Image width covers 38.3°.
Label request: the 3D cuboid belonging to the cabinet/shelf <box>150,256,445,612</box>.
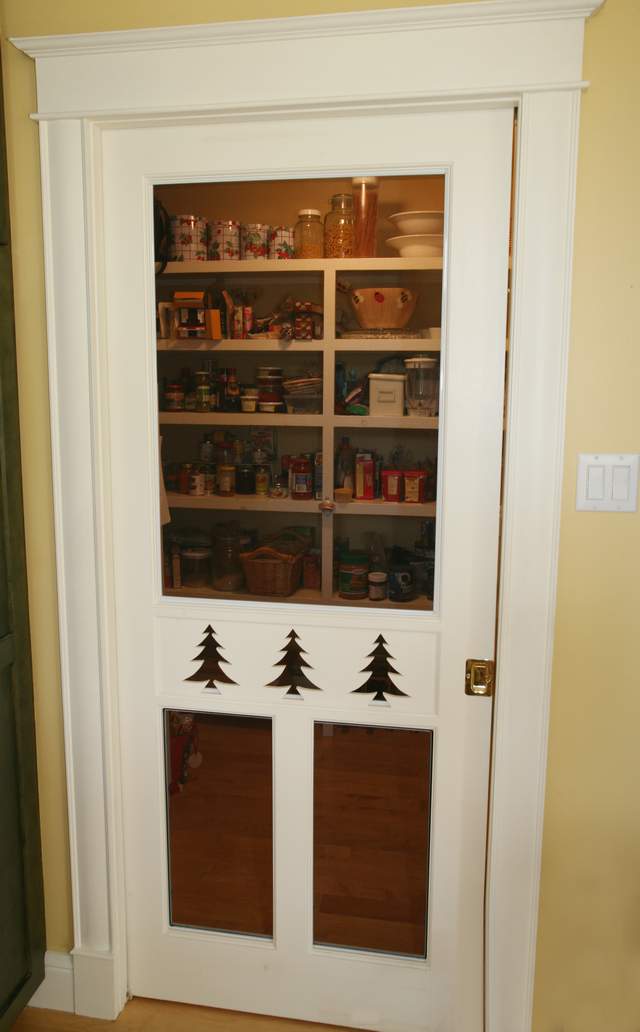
[{"bbox_3d":[-0.027,-0.127,1.706,0.514,0.649,0.211,1,-5,9],"label":"cabinet/shelf"}]

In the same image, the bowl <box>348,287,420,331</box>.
[{"bbox_3d":[0.118,-0.372,1.668,0.083,0.055,0.084,0,11,0],"label":"bowl"}]

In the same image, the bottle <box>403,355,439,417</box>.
[{"bbox_3d":[0.185,-0.236,1.686,0.085,0.137,0.088,0,7,0],"label":"bottle"}]

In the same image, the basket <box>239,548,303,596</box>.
[{"bbox_3d":[-0.098,0.107,1.789,0.085,0.086,0.110,2,7,11],"label":"basket"}]

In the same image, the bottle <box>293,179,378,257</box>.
[{"bbox_3d":[0.039,-0.542,1.673,0.170,0.175,0.103,4,9,16],"label":"bottle"}]
